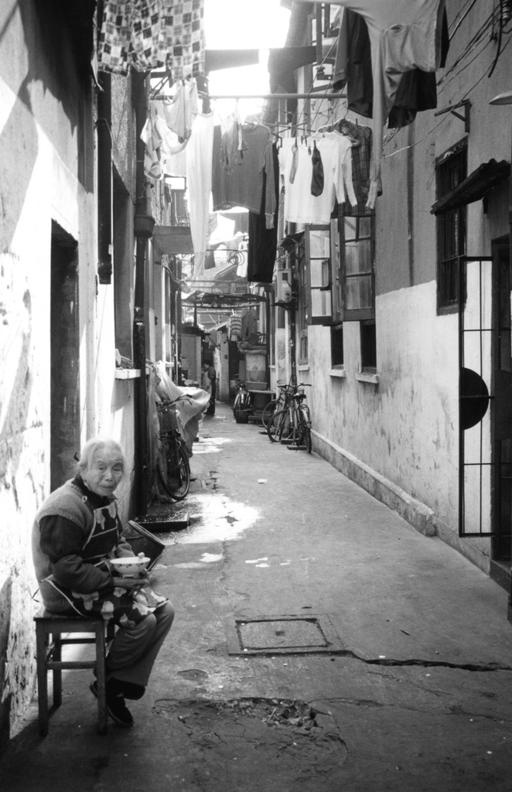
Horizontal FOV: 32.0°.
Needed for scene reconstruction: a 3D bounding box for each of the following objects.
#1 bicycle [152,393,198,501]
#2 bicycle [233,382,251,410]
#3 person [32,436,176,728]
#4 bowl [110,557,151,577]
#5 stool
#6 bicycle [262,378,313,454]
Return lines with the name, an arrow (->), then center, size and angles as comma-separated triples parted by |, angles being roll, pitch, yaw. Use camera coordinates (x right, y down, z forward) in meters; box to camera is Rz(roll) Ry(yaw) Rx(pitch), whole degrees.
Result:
bicycle -> -1.002, 0.422, 11.254 | 0.238, 1.610, 2.089 | -5, -3, -5
bicycle -> -0.355, -0.010, 24.463 | 0.290, 0.669, 0.759 | 2, 8, 0
person -> -0.678, 0.764, 3.989 | 0.390, 1.385, 0.453 | 1, 18, 3
bowl -> -0.555, 0.755, 3.932 | 0.167, 0.098, 0.148 | 0, 2, -11
stool -> -0.835, 1.158, 4.018 | 0.269, 0.801, 0.452 | 0, -1, 3
bicycle -> 0.641, 0.412, 17.542 | 0.425, 1.099, 1.658 | 3, 10, -8
